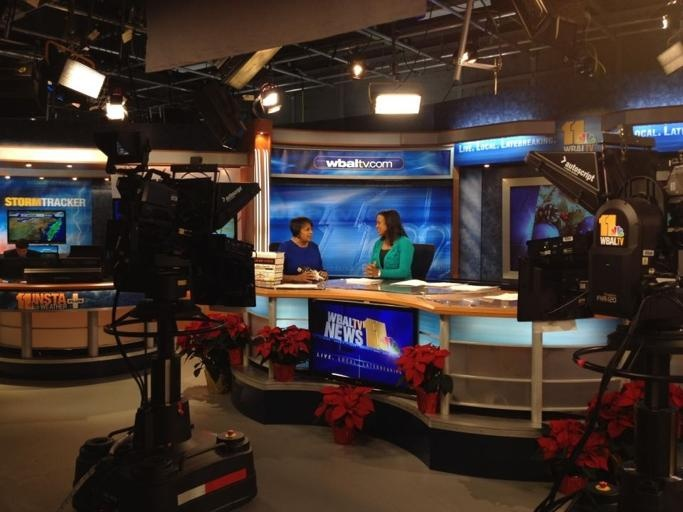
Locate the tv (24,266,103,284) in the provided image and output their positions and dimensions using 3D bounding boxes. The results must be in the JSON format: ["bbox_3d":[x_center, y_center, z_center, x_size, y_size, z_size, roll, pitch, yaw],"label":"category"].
[{"bbox_3d":[-2.845,0.187,6.105,0.781,0.143,0.403,-3,8,-19],"label":"tv"}]

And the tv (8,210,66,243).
[{"bbox_3d":[-5.120,-0.512,9.970,0.595,0.398,0.023,0,1,-13],"label":"tv"}]

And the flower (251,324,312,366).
[{"bbox_3d":[-0.475,0.695,4.734,0.362,0.198,0.358,-2,4,-29],"label":"flower"}]

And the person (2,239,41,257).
[{"bbox_3d":[-4.003,-0.090,7.536,0.418,0.278,0.801,-5,9,-30],"label":"person"}]

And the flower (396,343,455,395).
[{"bbox_3d":[0.572,0.776,4.098,0.376,0.306,0.298,2,8,15],"label":"flower"}]

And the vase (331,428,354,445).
[{"bbox_3d":[0.013,1.313,4.386,0.135,0.136,0.137,1,-5,-11],"label":"vase"}]

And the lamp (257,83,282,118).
[{"bbox_3d":[-0.819,-1.791,6.833,0.227,0.303,0.293,-4,17,-8],"label":"lamp"}]

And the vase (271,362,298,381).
[{"bbox_3d":[-0.455,0.922,4.775,0.174,0.113,0.158,-1,-4,14],"label":"vase"}]

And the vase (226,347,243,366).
[{"bbox_3d":[-0.925,0.883,5.276,0.145,0.162,0.144,-1,-2,-4],"label":"vase"}]

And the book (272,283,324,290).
[{"bbox_3d":[-0.338,0.250,4.993,0.434,0.018,0.261,2,8,17],"label":"book"}]

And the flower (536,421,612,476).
[{"bbox_3d":[1.398,1.135,3.582,0.387,0.285,0.283,3,9,24],"label":"flower"}]

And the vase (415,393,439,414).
[{"bbox_3d":[0.593,0.996,4.102,0.160,0.121,0.145,-5,-7,40],"label":"vase"}]

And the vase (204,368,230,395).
[{"bbox_3d":[-1.140,1.156,5.489,0.234,0.187,0.220,-1,-3,15],"label":"vase"}]
